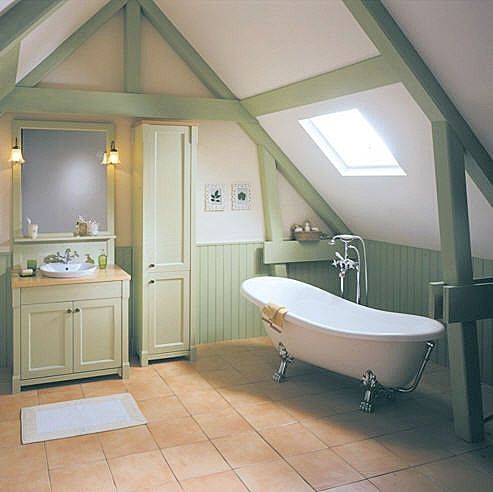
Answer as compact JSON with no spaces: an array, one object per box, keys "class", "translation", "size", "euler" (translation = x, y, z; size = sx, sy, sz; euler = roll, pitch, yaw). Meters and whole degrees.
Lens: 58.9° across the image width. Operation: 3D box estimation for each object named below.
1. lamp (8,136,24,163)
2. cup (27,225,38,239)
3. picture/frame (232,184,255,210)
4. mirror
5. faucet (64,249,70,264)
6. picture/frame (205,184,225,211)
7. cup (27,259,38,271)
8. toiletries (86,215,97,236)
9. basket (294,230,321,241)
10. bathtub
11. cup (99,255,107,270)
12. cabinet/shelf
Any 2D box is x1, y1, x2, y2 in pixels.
[{"class":"lamp","translation":[-2.103,-0.883,4.015],"size":[0.127,0.252,0.125],"euler":[-2,5,-27]},{"class":"cup","translation":[-1.995,-0.139,4.107],"size":[0.070,0.132,0.056],"euler":[-2,5,-30]},{"class":"picture/frame","translation":[-0.041,-0.589,5.111],"size":[0.329,0.345,0.015],"euler":[-2,2,-33]},{"class":"mirror","translation":[-1.770,-0.633,4.283],"size":[0.048,1.108,0.977],"euler":[18,19,41]},{"class":"faucet","translation":[-1.736,0.093,4.257],"size":[0.063,0.139,0.173],"euler":[-1,5,-22]},{"class":"picture/frame","translation":[-0.357,-0.572,4.968],"size":[0.325,0.412,0.033],"euler":[-1,8,-20]},{"class":"cup","translation":[-1.980,0.170,4.086],"size":[0.127,0.114,0.087],"euler":[1,8,-14]},{"class":"toiletries","translation":[-1.523,-0.186,4.335],"size":[0.123,0.140,0.154],"euler":[0,0,-17]},{"class":"basket","translation":[0.748,-0.119,5.294],"size":[0.347,0.131,0.198],"euler":[1,4,8]},{"class":"bathtub","translation":[0.770,0.762,3.818],"size":[0.984,0.677,1.779],"euler":[-2,5,-31]},{"class":"cup","translation":[-1.433,0.148,4.380],"size":[0.084,0.140,0.221],"euler":[-1,4,-18]},{"class":"cabinet/shelf","translation":[-1.560,0.775,3.806],"size":[1.018,0.865,0.417],"euler":[-1,2,-24]}]
